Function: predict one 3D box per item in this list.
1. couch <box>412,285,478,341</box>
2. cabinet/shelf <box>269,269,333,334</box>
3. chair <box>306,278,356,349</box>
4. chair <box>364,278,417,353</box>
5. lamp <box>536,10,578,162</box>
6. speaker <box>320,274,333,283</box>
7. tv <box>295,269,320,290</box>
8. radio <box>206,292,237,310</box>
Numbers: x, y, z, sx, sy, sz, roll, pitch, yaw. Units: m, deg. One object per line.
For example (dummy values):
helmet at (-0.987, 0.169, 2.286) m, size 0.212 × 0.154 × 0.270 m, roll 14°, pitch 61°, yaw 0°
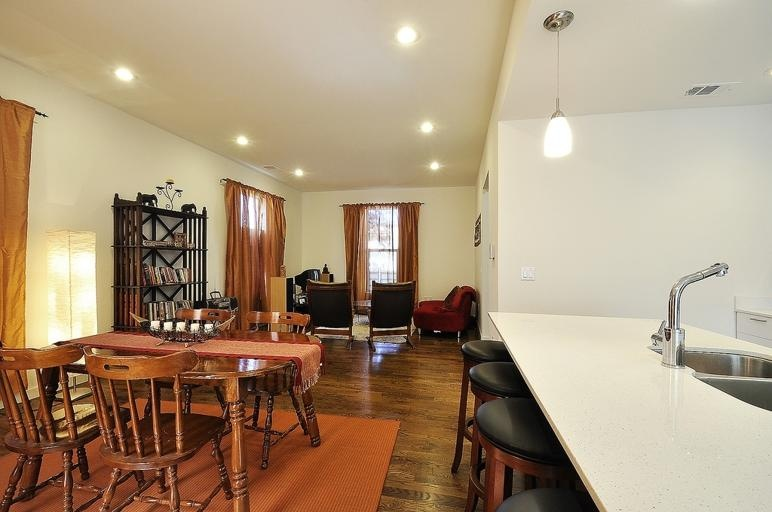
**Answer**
couch at (0.984, 0.888, 7.924) m, size 1.002 × 0.708 × 1.110 m, roll -1°, pitch -1°, yaw 12°
cabinet/shelf at (-1.245, 0.659, 7.001) m, size 0.298 × 0.932 × 1.014 m, roll 0°, pitch -3°, yaw 3°
chair at (-0.778, 0.749, 6.730) m, size 0.699 × 1.030 × 0.854 m, roll 0°, pitch -1°, yaw 5°
chair at (0.050, 0.808, 7.078) m, size 0.675 × 0.957 × 0.744 m, roll 0°, pitch 5°, yaw -6°
lamp at (1.505, -1.347, 4.186) m, size 0.233 × 1.135 × 1.037 m, roll 0°, pitch -1°, yaw 20°
speaker at (-1.133, 0.458, 8.999) m, size 0.161 × 0.201 × 0.303 m, roll -1°, pitch -2°, yaw 5°
tv at (-1.520, 0.406, 9.369) m, size 0.464 × 0.360 × 0.471 m, roll 0°, pitch 0°, yaw -6°
radio at (-2.366, 0.648, 6.741) m, size 0.284 × 0.305 × 0.409 m, roll -4°, pitch -6°, yaw 13°
